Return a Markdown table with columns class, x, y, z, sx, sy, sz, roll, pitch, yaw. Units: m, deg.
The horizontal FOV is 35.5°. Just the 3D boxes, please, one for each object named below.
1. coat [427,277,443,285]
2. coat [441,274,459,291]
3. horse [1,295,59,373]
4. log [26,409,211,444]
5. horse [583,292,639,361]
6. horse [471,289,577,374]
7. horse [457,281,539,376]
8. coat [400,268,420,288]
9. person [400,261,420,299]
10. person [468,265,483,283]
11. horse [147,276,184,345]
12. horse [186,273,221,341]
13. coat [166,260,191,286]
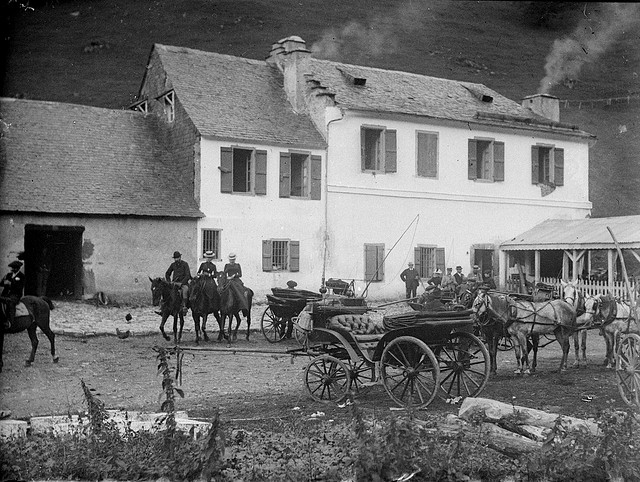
| class | x | y | z | sx | sy | sz | roll | pitch | yaw |
| --- | --- | --- | --- | --- | --- | --- | --- | --- | --- |
| coat | 3.598 | 1.265 | 31.450 | 0.388 | 0.249 | 0.509 | 0 | 8 | 4 |
| coat | 4.072 | 1.348 | 31.493 | 0.434 | 0.416 | 0.245 | 5 | -18 | -20 |
| horse | -6.609 | 2.067 | 22.908 | 1.013 | 1.564 | 1.565 | 1 | 8 | 12 |
| log | -3.467 | 3.147 | 17.016 | 1.400 | 0.289 | 1.375 | 2 | -5 | -41 |
| horse | 6.899 | 2.173 | 23.820 | 1.247 | 1.651 | 0.946 | 1 | 9 | 14 |
| horse | 4.850 | 2.194 | 23.474 | 2.826 | 1.999 | 0.901 | 3 | -7 | -17 |
| horse | 4.413 | 2.168 | 23.711 | 2.780 | 2.040 | 0.710 | 4 | 2 | -45 |
| coat | 2.720 | 1.154 | 30.917 | 0.641 | 0.578 | 0.386 | 4 | 10 | 33 |
| person | 2.778 | 1.226 | 30.829 | 0.570 | 0.975 | 0.849 | -2 | 8 | -3 |
| person | 4.952 | 1.086 | 32.036 | 0.507 | 0.787 | 0.528 | -1 | -2 | -11 |
| horse | -4.126 | 1.966 | 27.666 | 0.637 | 1.830 | 2.541 | -3 | -3 | 9 |
| horse | -3.236 | 1.936 | 27.973 | 0.778 | 1.942 | 2.728 | 0 | -5 | 7 |
| coat | -4.099 | 0.917 | 28.152 | 0.764 | 0.859 | 0.592 | -1 | -23 | 3 |
